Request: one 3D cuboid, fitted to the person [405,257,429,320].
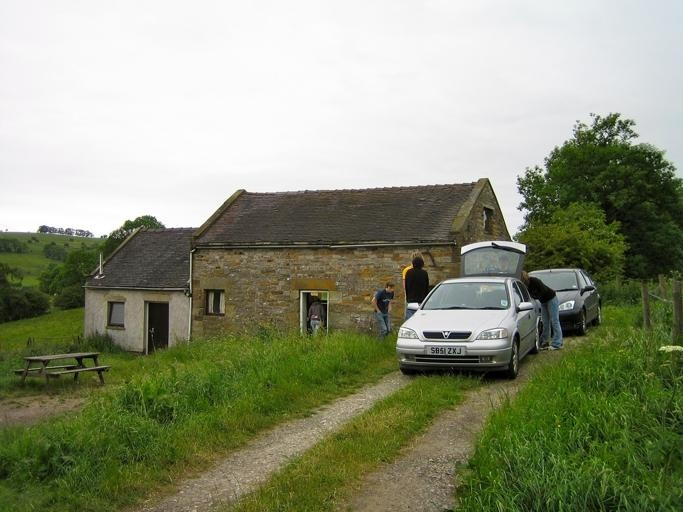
[{"bbox_3d":[1.863,0.899,14.006,0.543,2.135,0.577,0,26,2],"label":"person"}]

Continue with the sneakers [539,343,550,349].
[{"bbox_3d":[4.678,2.095,12.925,0.082,0.119,0.254,-10,-17,-31],"label":"sneakers"}]

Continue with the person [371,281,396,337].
[{"bbox_3d":[1.154,1.431,14.995,0.550,1.535,0.839,-4,4,5],"label":"person"}]

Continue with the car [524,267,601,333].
[{"bbox_3d":[6.146,1.120,14.880,1.238,0.988,2.326,-5,-8,31],"label":"car"}]

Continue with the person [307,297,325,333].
[{"bbox_3d":[-0.882,2.118,18.939,0.472,1.583,0.376,5,17,8],"label":"person"}]
